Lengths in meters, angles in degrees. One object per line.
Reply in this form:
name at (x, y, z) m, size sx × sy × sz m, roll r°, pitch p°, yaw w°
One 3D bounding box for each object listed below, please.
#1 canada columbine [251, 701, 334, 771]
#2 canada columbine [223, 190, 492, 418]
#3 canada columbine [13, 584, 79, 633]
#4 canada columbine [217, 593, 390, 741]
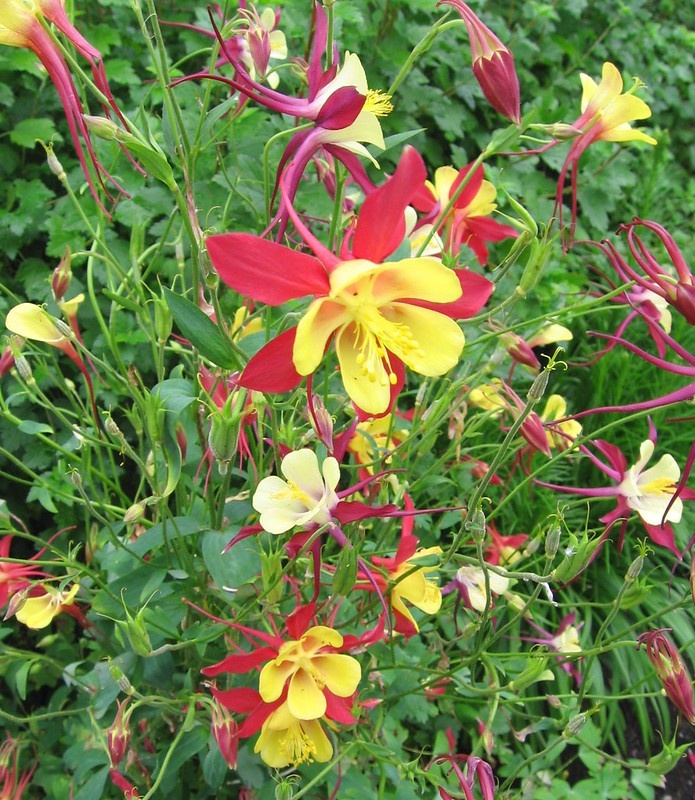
canada columbine at (-0.067, 0.473, 1.120) m, size 0.130 × 0.114 × 0.055 m, roll 10°, pitch 16°, yaw -24°
canada columbine at (-0.016, -0.119, 0.853) m, size 0.362 × 0.133 × 0.306 m, roll 13°, pitch 29°, yaw 13°
canada columbine at (-0.495, 0.330, 1.267) m, size 0.052 × 0.096 × 0.090 m, roll 42°, pitch -21°, yaw 5°
canada columbine at (-0.073, 0.377, 1.086) m, size 0.048 × 0.151 × 0.168 m, roll -44°, pitch 34°, yaw -22°
